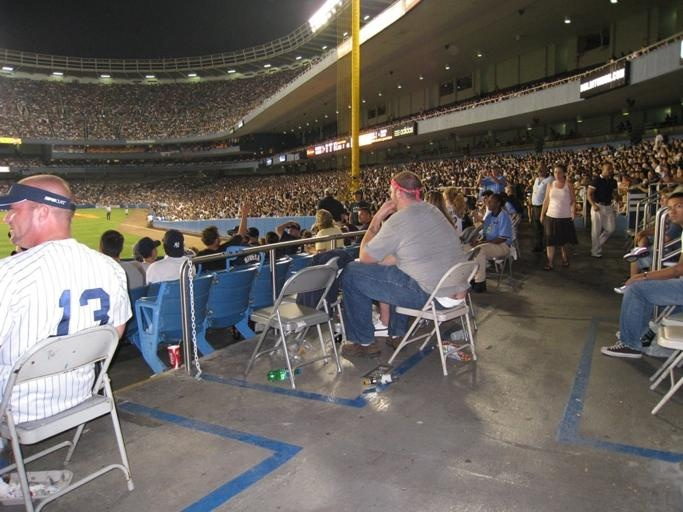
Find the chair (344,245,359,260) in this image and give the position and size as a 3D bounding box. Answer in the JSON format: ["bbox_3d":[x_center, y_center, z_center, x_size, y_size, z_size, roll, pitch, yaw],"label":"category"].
[{"bbox_3d":[0.148,-0.049,5.793,0.141,0.172,0.257,0,1,35],"label":"chair"}]

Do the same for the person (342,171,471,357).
[{"bbox_3d":[0.647,0.142,4.782,1.007,1.784,1.371,0,7,-32],"label":"person"}]

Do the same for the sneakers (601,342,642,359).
[{"bbox_3d":[2.726,0.910,4.534,0.364,0.149,0.135,4,5,30],"label":"sneakers"}]

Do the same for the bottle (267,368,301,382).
[{"bbox_3d":[-0.537,1.115,4.422,0.305,0.097,0.122,0,1,-12],"label":"bottle"}]

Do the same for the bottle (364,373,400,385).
[{"bbox_3d":[0.365,1.122,4.274,0.337,0.111,0.107,-6,-12,-18],"label":"bottle"}]

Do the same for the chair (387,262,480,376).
[{"bbox_3d":[0.991,0.535,4.749,0.804,1.044,1.044,-1,7,16],"label":"chair"}]

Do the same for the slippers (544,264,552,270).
[{"bbox_3d":[3.748,0.182,8.343,0.139,0.103,0.202,1,7,28],"label":"slippers"}]

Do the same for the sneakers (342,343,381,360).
[{"bbox_3d":[0.211,0.970,4.848,0.411,0.169,0.148,4,5,15],"label":"sneakers"}]

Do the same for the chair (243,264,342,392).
[{"bbox_3d":[-0.462,0.603,4.639,0.900,1.076,1.049,-3,6,-4],"label":"chair"}]

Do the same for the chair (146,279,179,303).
[{"bbox_3d":[-1.951,0.348,5.062,0.258,0.220,0.583,-6,7,-30],"label":"chair"}]

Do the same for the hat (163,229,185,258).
[{"bbox_3d":[-1.979,-0.150,5.481,0.230,0.308,0.265,-5,7,-19],"label":"hat"}]

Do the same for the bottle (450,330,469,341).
[{"bbox_3d":[1.297,0.874,5.092,0.146,0.060,0.166,-9,-5,21],"label":"bottle"}]
